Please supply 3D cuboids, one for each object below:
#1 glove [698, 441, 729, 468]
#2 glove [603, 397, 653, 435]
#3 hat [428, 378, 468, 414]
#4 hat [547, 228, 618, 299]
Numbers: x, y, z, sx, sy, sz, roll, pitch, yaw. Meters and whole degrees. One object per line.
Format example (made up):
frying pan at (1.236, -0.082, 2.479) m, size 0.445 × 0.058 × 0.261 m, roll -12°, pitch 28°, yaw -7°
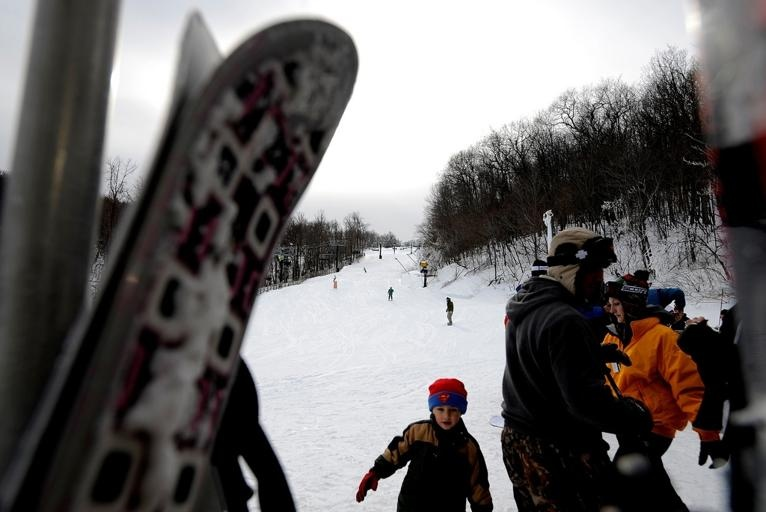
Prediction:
glove at (2.179, 1.293, 3.528) m, size 0.162 × 0.179 × 0.429 m, roll -11°, pitch -16°, yaw 27°
glove at (1.092, 0.706, 2.350) m, size 0.064 × 0.189 × 0.227 m, roll -3°, pitch -6°, yaw 43°
hat at (0.431, 0.942, 3.578) m, size 0.276 × 0.223 × 0.260 m, roll -3°, pitch -25°, yaw 11°
hat at (1.015, 0.056, 2.739) m, size 0.323 × 0.421 × 0.292 m, roll 0°, pitch -9°, yaw 22°
